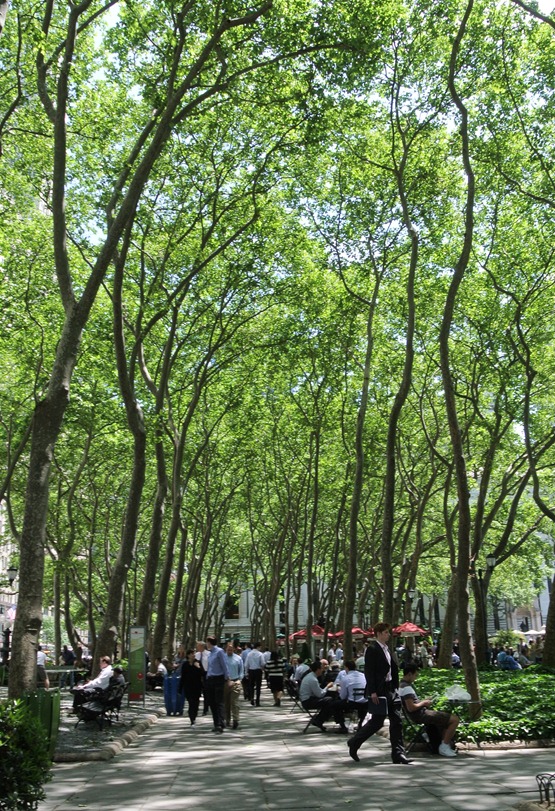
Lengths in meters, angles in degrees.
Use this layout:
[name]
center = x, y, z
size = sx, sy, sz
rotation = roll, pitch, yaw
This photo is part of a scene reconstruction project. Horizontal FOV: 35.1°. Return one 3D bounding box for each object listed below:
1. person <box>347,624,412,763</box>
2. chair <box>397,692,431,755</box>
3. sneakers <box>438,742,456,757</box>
[person]
center = 1.314, 3.737, 11.387
size = 0.757, 1.711, 1.543
rotation = 0, -17, 5
[chair]
center = 1.961, 4.590, 12.575
size = 0.707, 0.912, 0.731
rotation = -3, -24, 9
[sneakers]
center = 2.336, 4.590, 11.649
size = 0.291, 0.185, 0.095
rotation = 6, -5, -24
